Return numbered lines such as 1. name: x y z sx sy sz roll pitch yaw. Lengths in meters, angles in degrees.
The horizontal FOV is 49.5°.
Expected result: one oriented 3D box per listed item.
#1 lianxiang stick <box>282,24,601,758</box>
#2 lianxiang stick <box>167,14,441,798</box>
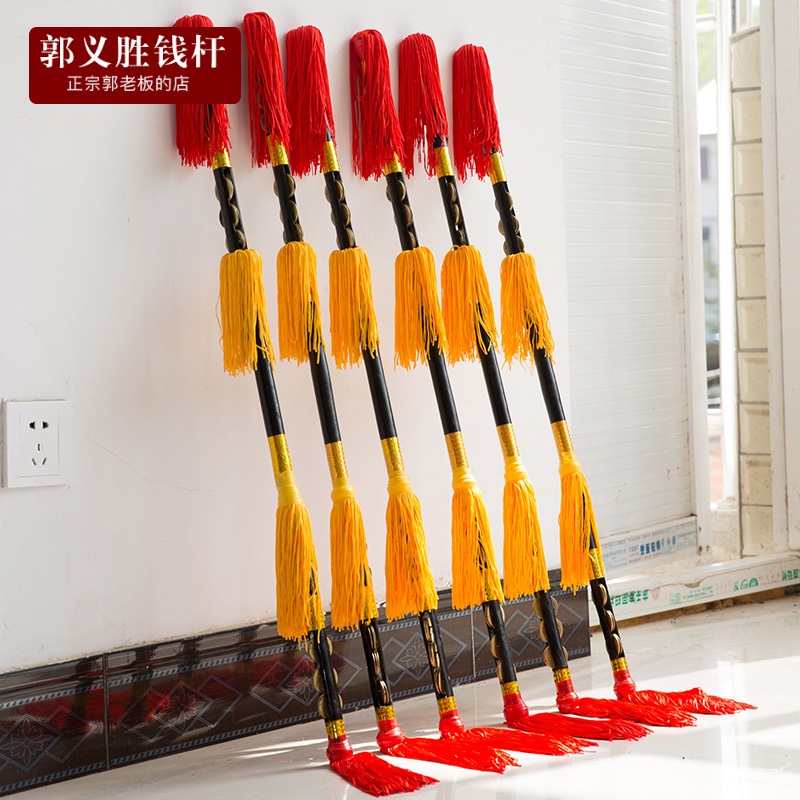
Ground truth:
1. lianxiang stick: 0.058 0.012 1.606 0.355 1.441 0.230 -12 -2 0
2. lianxiang stick: -0.154 0.041 1.299 0.383 1.036 0.106 -2 0 33
